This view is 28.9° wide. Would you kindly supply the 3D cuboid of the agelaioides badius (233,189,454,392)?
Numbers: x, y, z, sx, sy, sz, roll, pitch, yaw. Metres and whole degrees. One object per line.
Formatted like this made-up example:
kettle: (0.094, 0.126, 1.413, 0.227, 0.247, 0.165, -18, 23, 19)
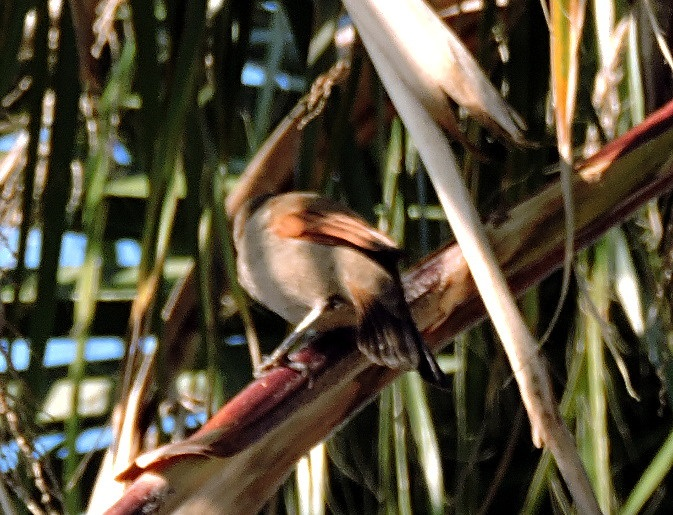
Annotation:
agelaioides badius: (-0.004, 0.036, 0.802, 0.139, 0.114, 0.071, -9, -34, 43)
